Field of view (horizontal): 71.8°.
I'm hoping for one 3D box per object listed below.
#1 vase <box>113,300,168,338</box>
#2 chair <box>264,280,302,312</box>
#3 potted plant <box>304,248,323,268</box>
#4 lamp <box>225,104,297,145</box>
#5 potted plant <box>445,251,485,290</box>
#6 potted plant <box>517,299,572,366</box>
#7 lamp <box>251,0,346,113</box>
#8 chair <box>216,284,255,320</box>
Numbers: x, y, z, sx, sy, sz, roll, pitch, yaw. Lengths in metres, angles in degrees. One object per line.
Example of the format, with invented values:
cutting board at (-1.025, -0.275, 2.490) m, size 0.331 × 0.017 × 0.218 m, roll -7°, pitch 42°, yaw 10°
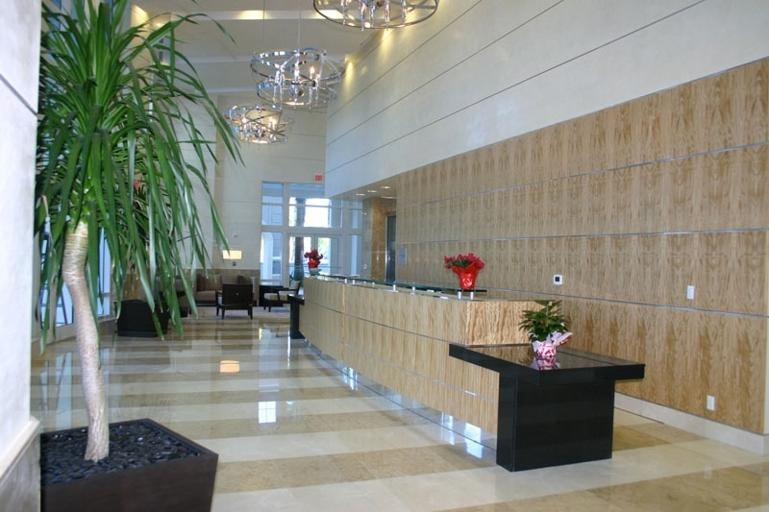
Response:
vase at (-5.044, 1.390, 11.179) m, size 0.878 × 0.729 × 1.064 m, roll 3°, pitch -12°, yaw -8°
chair at (-3.078, 1.199, 15.882) m, size 1.377 × 1.239 × 1.066 m, roll 2°, pitch -5°, yaw -24°
potted plant at (-1.383, 0.065, 10.507) m, size 0.393 × 0.462 × 0.375 m, roll 0°, pitch -5°, yaw 0°
lamp at (-3.082, -3.311, 13.391) m, size 1.395 × 0.695 × 1.375 m, roll -4°, pitch 10°, yaw -39°
potted plant at (0.963, 0.200, 6.166) m, size 0.474 × 0.424 × 0.466 m, roll 6°, pitch -11°, yaw -40°
potted plant at (1.564, 0.747, 5.273) m, size 0.553 × 0.659 × 0.564 m, roll 3°, pitch -5°, yaw -35°
lamp at (-1.762, -4.053, 11.172) m, size 1.649 × 2.184 × 4.059 m, roll 1°, pitch 3°, yaw -9°
chair at (-4.020, 1.180, 14.338) m, size 0.834 × 0.888 × 1.063 m, roll 0°, pitch 3°, yaw -18°
